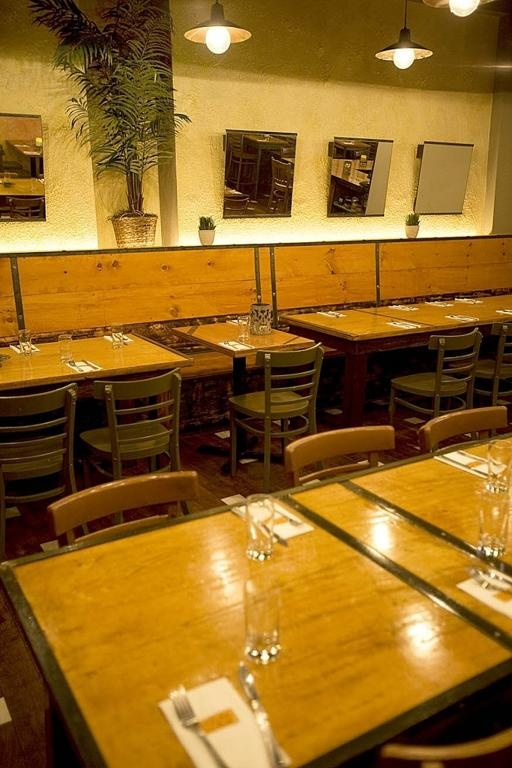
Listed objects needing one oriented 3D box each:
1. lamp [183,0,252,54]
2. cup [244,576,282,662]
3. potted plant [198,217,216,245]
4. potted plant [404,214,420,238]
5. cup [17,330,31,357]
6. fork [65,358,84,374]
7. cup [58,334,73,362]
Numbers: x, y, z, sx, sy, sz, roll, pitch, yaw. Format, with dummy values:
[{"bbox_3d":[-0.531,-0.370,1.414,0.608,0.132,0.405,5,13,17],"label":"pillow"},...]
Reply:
[{"bbox_3d":[-0.250,-2.301,3.468,0.350,0.308,0.404,-4,10,-28],"label":"lamp"},{"bbox_3d":[0.012,0.370,0.879,0.058,0.113,0.118,1,9,0],"label":"cup"},{"bbox_3d":[-0.449,-1.365,4.817,0.129,0.277,0.304,0,9,-8],"label":"potted plant"},{"bbox_3d":[1.743,-1.766,6.048,0.129,0.263,0.111,2,9,10],"label":"potted plant"},{"bbox_3d":[-1.426,-0.255,3.333,0.063,0.140,0.112,-2,9,-14],"label":"cup"},{"bbox_3d":[-1.009,-0.099,3.009,0.069,0.019,0.136,-7,24,-35],"label":"fork"},{"bbox_3d":[-1.132,-0.214,3.198,0.065,0.145,0.253,-3,9,-20],"label":"cup"}]
